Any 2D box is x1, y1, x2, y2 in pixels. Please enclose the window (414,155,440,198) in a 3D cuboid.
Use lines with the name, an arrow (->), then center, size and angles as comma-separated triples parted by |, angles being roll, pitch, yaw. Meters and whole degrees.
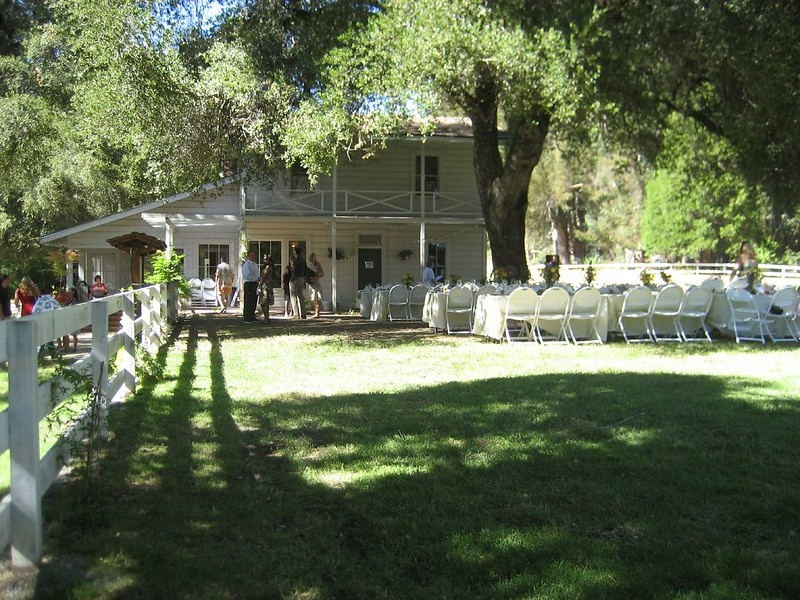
window -> 0.874, -4.371, 26.634 | 1.031, 1.722, 0.081 | -3, -38, 6

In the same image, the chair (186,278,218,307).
chair -> -6.760, -0.243, 26.218 | 0.932, 1.055, 0.952 | 0, 1, -20

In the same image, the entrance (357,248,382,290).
entrance -> -1.038, -0.959, 26.266 | 0.793, 1.671, 0.128 | -3, -32, 3

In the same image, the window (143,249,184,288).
window -> -6.034, -0.794, 19.562 | 1.120, 0.997, 1.270 | -1, 6, -10

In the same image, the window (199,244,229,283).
window -> -6.244, -1.268, 25.712 | 1.146, 1.591, 0.061 | 0, 1, -20
